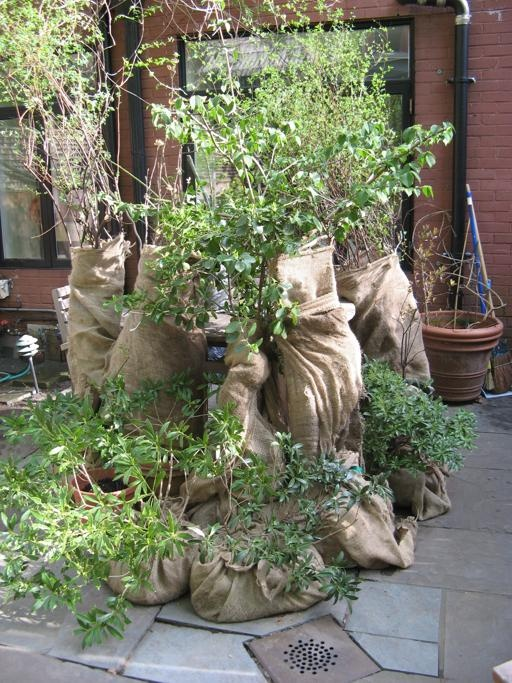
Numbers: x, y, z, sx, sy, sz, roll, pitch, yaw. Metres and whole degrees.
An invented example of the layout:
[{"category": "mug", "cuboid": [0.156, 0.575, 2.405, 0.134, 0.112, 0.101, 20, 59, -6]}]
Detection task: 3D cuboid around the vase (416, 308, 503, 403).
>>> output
[{"category": "vase", "cuboid": [1.576, 0.128, 4.453, 0.567, 0.660, 0.517, 2, 14, 14]}]
